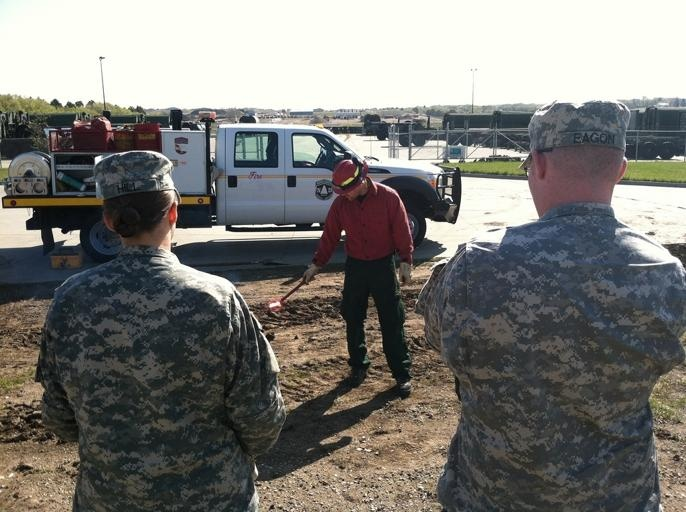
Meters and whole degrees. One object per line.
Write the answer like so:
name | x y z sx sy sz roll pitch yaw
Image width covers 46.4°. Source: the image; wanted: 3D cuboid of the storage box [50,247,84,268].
storage box | -3.555 0.034 10.523 0.346 0.236 0.343 3 9 9

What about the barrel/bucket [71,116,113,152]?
barrel/bucket | -3.217 -1.583 10.412 0.478 0.466 0.493 4 15 -1

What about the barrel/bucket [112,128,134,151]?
barrel/bucket | -2.834 -1.561 10.492 0.335 0.278 0.365 2 14 0

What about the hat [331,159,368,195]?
hat | 0.068 -0.602 6.045 0.299 0.267 0.199 -15 20 -43

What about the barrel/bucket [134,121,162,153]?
barrel/bucket | -2.530 -1.553 10.457 0.342 0.368 0.253 -4 15 -15

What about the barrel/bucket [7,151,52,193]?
barrel/bucket | -4.003 -1.070 10.479 0.678 0.653 0.496 -2 4 0

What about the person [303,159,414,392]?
person | 0.177 0.142 6.303 0.782 1.838 0.571 0 15 2

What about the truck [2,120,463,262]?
truck | -1.722 -1.251 11.732 6.921 2.254 2.368 -2 10 -9
